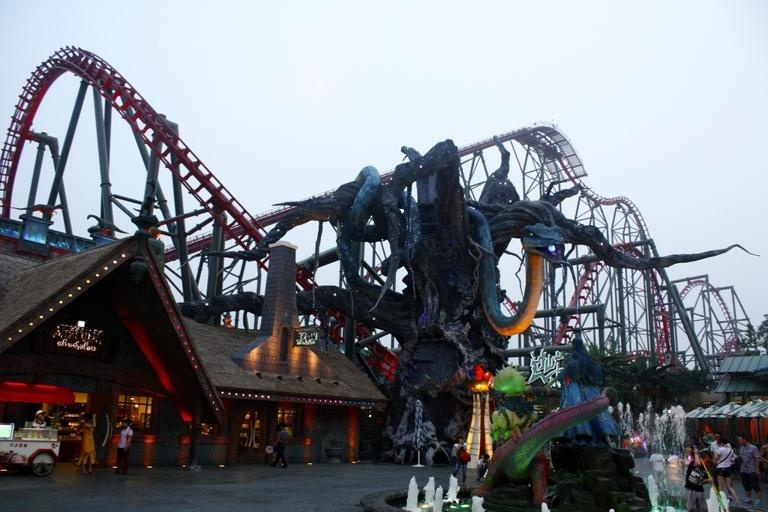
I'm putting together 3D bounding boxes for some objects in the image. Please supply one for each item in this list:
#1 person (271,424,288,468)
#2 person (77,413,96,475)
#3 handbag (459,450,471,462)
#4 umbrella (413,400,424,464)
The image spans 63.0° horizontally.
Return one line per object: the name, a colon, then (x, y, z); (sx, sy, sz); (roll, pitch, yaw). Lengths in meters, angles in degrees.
person: (-3.910, 7.137, 23.662); (0.520, 1.624, 1.521); (2, -19, -9)
person: (-9.079, 5.747, 19.304); (0.515, 1.762, 1.514); (7, -20, -23)
handbag: (2.658, 6.605, 20.644); (0.270, 0.332, 0.498); (-1, -18, 0)
umbrella: (1.392, 7.390, 26.474); (0.492, 2.708, 0.639); (-10, -21, 25)
